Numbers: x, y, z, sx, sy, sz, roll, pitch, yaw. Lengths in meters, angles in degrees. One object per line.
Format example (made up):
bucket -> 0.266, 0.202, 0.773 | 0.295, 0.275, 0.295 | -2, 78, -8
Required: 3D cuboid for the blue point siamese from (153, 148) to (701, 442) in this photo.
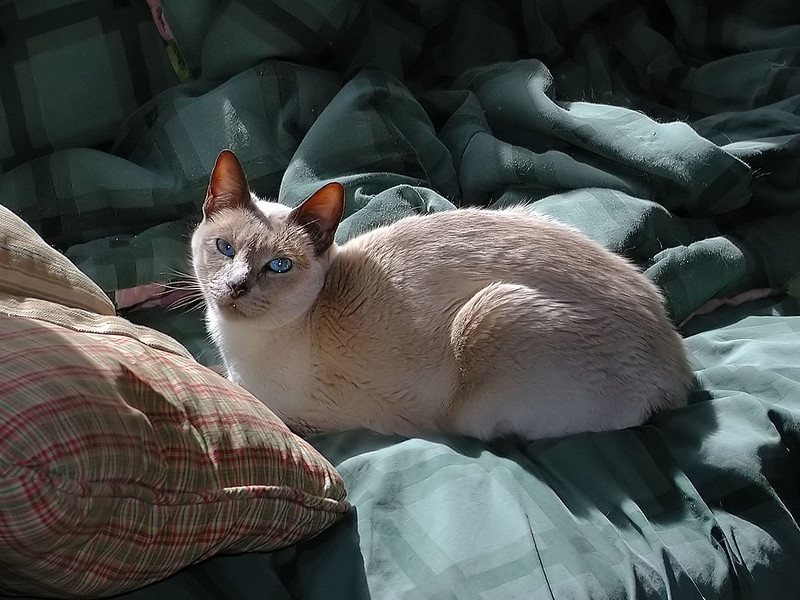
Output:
blue point siamese -> 0.096, 0.014, 1.595 | 1.082, 0.567, 0.595 | -2, 20, 11
